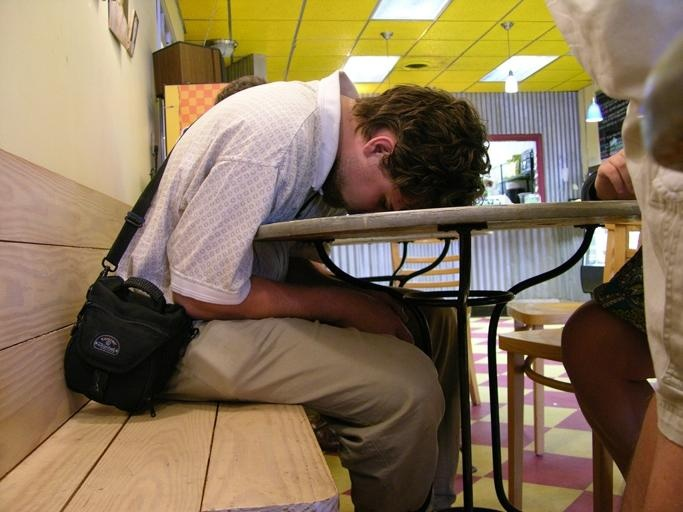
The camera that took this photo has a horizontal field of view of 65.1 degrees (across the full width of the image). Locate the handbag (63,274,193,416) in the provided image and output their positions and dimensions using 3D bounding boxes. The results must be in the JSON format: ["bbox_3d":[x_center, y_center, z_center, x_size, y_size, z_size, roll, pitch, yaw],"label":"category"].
[{"bbox_3d":[-0.437,0.194,1.109,0.190,0.224,0.118,23,-12,3],"label":"handbag"}]

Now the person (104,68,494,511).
[{"bbox_3d":[-0.165,0.065,1.837,1.024,1.530,0.822,-1,0,4],"label":"person"}]

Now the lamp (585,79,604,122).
[{"bbox_3d":[2.835,-1.685,6.029,0.146,0.325,0.162,3,1,-26],"label":"lamp"}]

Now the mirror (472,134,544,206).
[{"bbox_3d":[2.425,-1.205,7.823,1.006,1.093,0.073,5,15,39],"label":"mirror"}]
